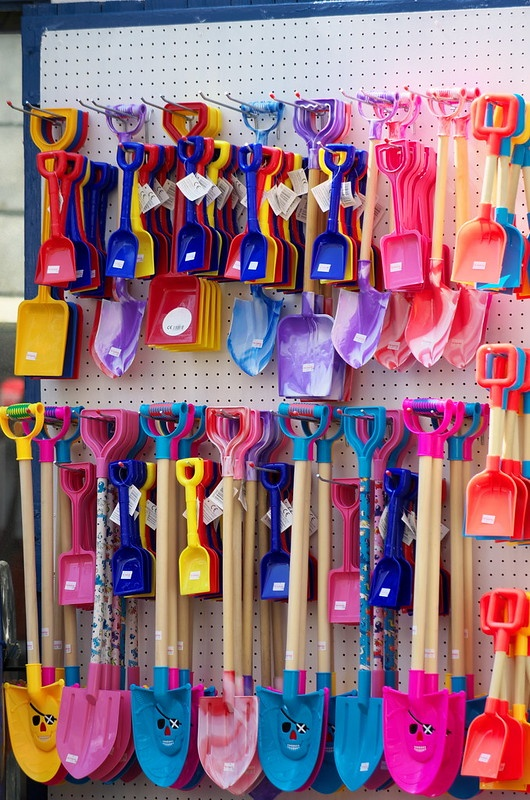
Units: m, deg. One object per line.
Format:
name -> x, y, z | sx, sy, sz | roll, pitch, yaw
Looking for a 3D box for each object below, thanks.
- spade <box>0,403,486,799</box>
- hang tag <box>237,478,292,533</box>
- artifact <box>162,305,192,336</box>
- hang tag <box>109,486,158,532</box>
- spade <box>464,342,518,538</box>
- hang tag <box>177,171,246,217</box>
spade -> -0.020, 0.449, 1.695 | 0.592, 0.819, 0.062 | -1, -4, 6
hang tag -> 0.003, 0.206, 1.719 | 0.067, 0.168, 0.030 | -18, -6, 35
artifact -> -0.207, -0.185, 1.837 | 0.095, 0.062, 0.044 | 16, 20, 38
hang tag -> -0.306, 0.267, 1.811 | 0.027, 0.096, 0.133 | 4, -34, 37
spade -> 0.428, 0.080, 1.441 | 0.063, 0.370, 0.034 | 0, -11, 32
hang tag -> -0.120, -0.496, 1.833 | 0.080, 0.082, 0.196 | 14, 20, 37
